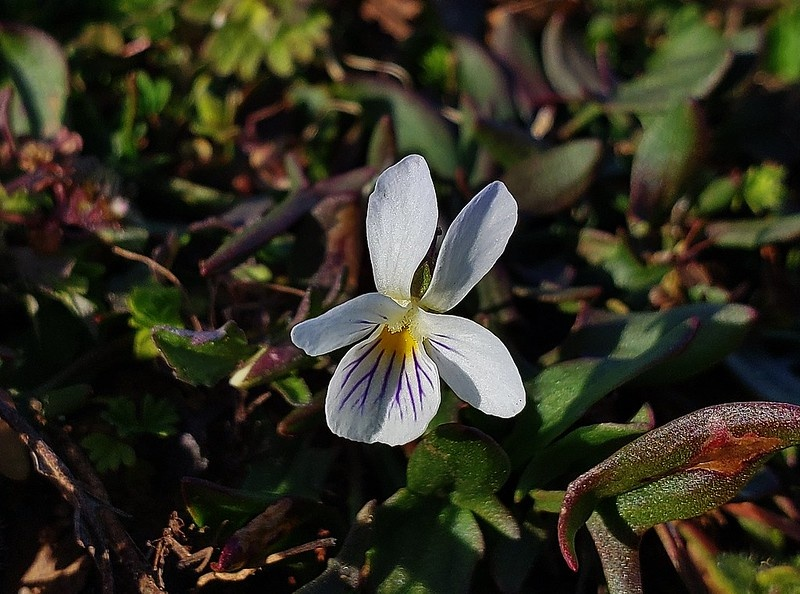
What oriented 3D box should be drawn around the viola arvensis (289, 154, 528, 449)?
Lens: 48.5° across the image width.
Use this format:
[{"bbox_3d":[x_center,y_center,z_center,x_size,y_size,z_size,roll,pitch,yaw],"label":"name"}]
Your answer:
[{"bbox_3d":[0.047,0.029,1.653,0.416,0.128,0.530,20,88,-4],"label":"viola arvensis"}]
